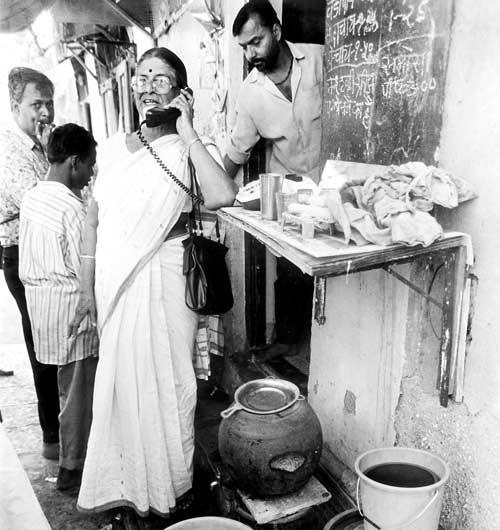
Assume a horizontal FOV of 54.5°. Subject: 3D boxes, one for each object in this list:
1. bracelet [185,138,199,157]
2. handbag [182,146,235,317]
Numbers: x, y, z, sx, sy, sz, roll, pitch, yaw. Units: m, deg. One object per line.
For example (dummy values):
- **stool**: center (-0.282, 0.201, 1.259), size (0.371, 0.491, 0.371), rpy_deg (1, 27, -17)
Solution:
- **bracelet**: center (-0.286, -0.584, 2.388), size (0.028, 0.100, 0.060), rpy_deg (12, -8, -36)
- **handbag**: center (-0.252, -0.135, 2.637), size (0.119, 0.901, 0.396), rpy_deg (-13, -10, 18)
